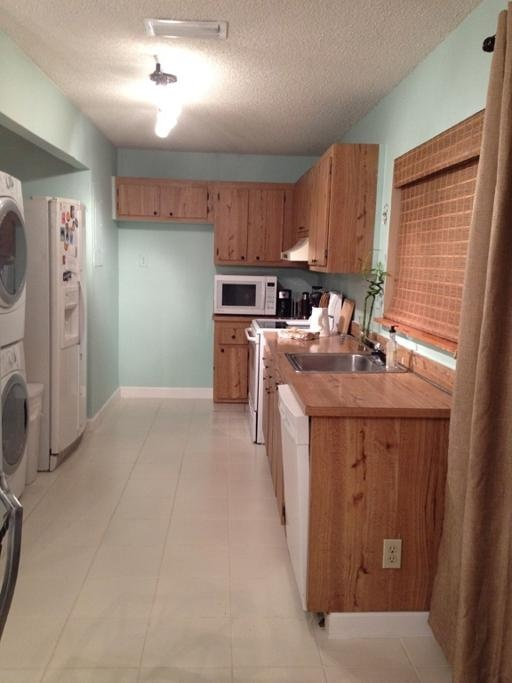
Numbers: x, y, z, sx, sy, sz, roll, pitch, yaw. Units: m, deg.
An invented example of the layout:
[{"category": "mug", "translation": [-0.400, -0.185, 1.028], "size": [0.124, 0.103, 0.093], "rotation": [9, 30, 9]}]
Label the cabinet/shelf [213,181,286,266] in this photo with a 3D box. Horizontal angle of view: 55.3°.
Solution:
[{"category": "cabinet/shelf", "translation": [-0.079, -1.037, 4.928], "size": [0.769, 0.838, 0.714], "rotation": [0, -13, 4]}]

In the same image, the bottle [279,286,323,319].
[{"category": "bottle", "translation": [0.416, -0.379, 4.721], "size": [0.443, 0.315, 0.520], "rotation": [2, 6, 6]}]

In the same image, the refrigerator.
[{"category": "refrigerator", "translation": [-1.280, -0.053, 3.240], "size": [0.227, 1.743, 0.475], "rotation": [4, 7, 19]}]

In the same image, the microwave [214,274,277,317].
[{"category": "microwave", "translation": [-0.100, -0.324, 4.806], "size": [0.544, 0.406, 0.352], "rotation": [0, 4, -2]}]

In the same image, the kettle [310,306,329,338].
[{"category": "kettle", "translation": [0.450, -0.140, 3.448], "size": [0.107, 0.188, 0.187], "rotation": [2, 16, 11]}]
